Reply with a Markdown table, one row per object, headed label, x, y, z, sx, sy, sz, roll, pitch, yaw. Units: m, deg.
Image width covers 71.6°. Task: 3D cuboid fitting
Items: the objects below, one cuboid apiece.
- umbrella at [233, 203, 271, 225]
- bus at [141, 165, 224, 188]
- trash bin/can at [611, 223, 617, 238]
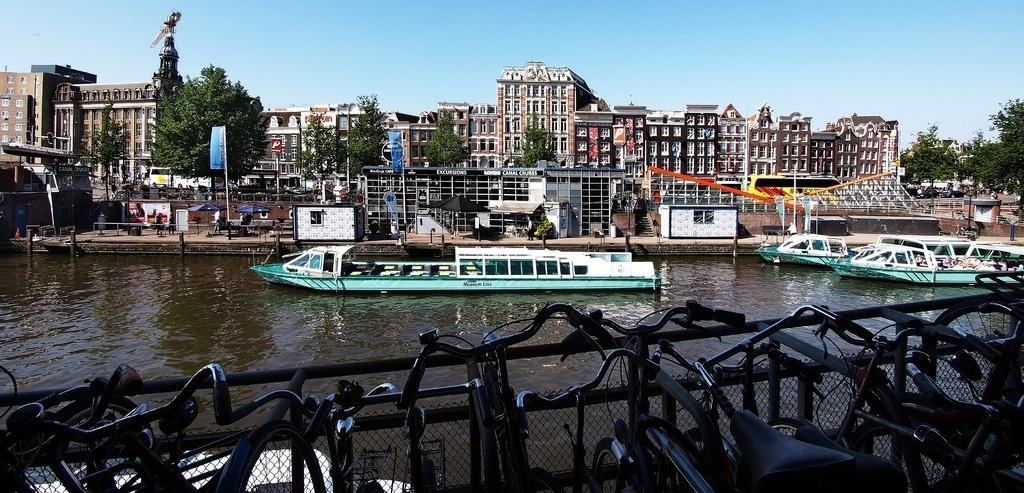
| label | x | y | z | sx | sy | sz | roll | pitch | yaw |
| --- | --- | --- | --- | --- | --- | --- | --- | --- | --- |
| umbrella | -25.375 | -3.139 | 70.013 | 3.343 | 1.906 | 3.123 | 11 | 18 | 17 |
| bus | -38.467 | -8.223 | 83.850 | 6.013 | 1.759 | 2.230 | 0 | -1 | -2 |
| trash bin/can | 9.909 | -1.636 | 68.523 | 0.529 | 1.153 | 1.147 | 1 | 4 | 27 |
